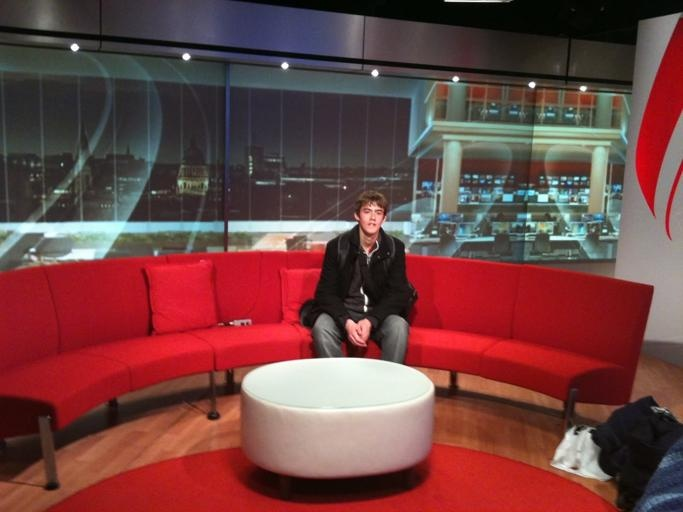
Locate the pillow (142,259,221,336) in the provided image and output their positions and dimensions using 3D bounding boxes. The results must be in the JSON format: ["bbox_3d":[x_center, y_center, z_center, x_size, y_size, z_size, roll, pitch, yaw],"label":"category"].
[{"bbox_3d":[-1.209,0.313,3.825,0.447,0.487,0.161,-5,-11,-29],"label":"pillow"}]

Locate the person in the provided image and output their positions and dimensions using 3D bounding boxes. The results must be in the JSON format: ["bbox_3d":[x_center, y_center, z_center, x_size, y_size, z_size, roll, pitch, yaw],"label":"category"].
[{"bbox_3d":[0.157,0.261,3.931,0.810,1.488,0.891,2,4,-5],"label":"person"}]

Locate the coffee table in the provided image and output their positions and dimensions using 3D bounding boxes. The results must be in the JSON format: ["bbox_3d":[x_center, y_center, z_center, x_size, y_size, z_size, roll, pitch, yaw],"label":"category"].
[{"bbox_3d":[-0.052,0.836,2.724,0.692,0.277,0.714,1,3,-10],"label":"coffee table"}]

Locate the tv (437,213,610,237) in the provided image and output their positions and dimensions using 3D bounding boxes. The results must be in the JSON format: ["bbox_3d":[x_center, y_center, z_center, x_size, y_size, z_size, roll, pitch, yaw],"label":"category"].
[{"bbox_3d":[2.079,-0.362,5.902,1.888,0.320,0.309,3,12,7],"label":"tv"}]
